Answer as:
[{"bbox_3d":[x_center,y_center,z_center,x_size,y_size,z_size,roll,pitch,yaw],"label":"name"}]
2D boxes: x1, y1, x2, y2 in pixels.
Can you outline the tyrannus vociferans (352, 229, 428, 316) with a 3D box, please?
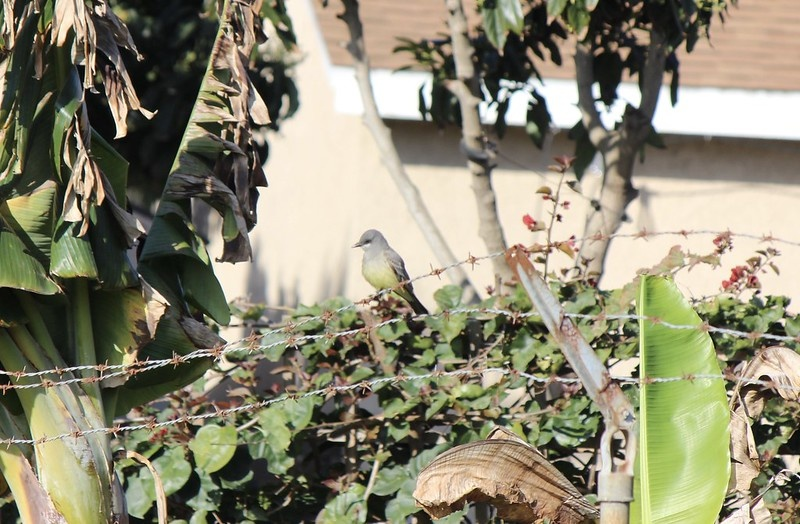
[{"bbox_3d":[-0.065,0.074,20.811,0.727,0.672,0.409,7,-14,-40],"label":"tyrannus vociferans"}]
